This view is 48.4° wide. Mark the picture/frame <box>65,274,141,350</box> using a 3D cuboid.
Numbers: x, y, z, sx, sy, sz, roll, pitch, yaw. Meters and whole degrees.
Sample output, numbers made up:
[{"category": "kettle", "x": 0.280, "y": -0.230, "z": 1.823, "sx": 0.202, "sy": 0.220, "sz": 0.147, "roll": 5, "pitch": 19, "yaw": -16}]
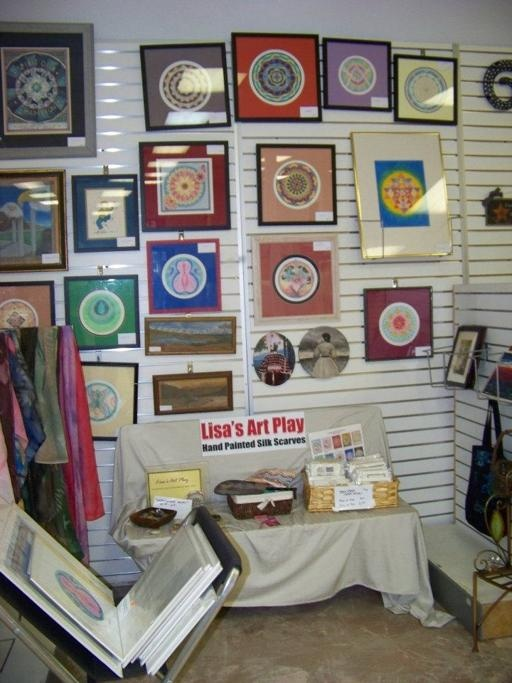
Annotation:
[{"category": "picture/frame", "x": -0.892, "y": -0.184, "z": 3.244, "sx": 0.447, "sy": 0.451, "sz": 0.021, "roll": 0, "pitch": 0, "yaw": -7}]

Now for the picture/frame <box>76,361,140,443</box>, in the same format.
[{"category": "picture/frame", "x": -0.845, "y": 0.331, "z": 3.199, "sx": 0.492, "sy": 0.556, "sz": 0.040, "roll": 0, "pitch": 0, "yaw": -6}]

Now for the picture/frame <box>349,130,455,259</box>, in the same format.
[{"category": "picture/frame", "x": 0.856, "y": -0.884, "z": 3.455, "sx": 0.761, "sy": 0.889, "sz": 0.059, "roll": -4, "pitch": -2, "yaw": -15}]

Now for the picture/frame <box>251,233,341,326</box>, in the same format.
[{"category": "picture/frame", "x": 0.214, "y": -0.385, "z": 3.402, "sx": 0.551, "sy": 0.534, "sz": 0.045, "roll": -2, "pitch": 3, "yaw": -11}]

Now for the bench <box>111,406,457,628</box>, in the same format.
[{"category": "bench", "x": 0.094, "y": 0.913, "z": 3.136, "sx": 1.691, "sy": 0.865, "sz": 0.851, "roll": -2, "pitch": 6, "yaw": -10}]

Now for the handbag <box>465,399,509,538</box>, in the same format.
[{"category": "handbag", "x": 1.269, "y": 0.692, "z": 3.118, "sx": 0.194, "sy": 0.753, "sz": 0.404, "roll": -1, "pitch": 6, "yaw": 7}]

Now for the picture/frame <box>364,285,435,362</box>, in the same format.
[{"category": "picture/frame", "x": 0.870, "y": -0.126, "z": 3.534, "sx": 0.472, "sy": 0.459, "sz": 0.033, "roll": -3, "pitch": 3, "yaw": -11}]

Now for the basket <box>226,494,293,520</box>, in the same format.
[{"category": "basket", "x": 0.033, "y": 0.846, "z": 2.971, "sx": 0.190, "sy": 0.073, "sz": 0.187, "roll": 1, "pitch": -3, "yaw": -21}]

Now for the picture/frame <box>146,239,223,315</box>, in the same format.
[{"category": "picture/frame", "x": -0.437, "y": -0.385, "z": 3.303, "sx": 0.441, "sy": 0.428, "sz": 0.046, "roll": -1, "pitch": 3, "yaw": -6}]

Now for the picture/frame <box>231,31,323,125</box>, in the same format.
[{"category": "picture/frame", "x": 0.098, "y": -1.535, "z": 3.294, "sx": 0.559, "sy": 0.509, "sz": 0.038, "roll": -2, "pitch": 4, "yaw": -7}]

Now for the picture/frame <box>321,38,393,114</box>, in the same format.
[{"category": "picture/frame", "x": 0.584, "y": -1.589, "z": 3.387, "sx": 0.491, "sy": 0.446, "sz": 0.019, "roll": 1, "pitch": 4, "yaw": -13}]

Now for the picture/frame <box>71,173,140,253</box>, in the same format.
[{"category": "picture/frame", "x": -0.870, "y": -0.740, "z": 3.227, "sx": 0.454, "sy": 0.512, "sz": 0.036, "roll": -2, "pitch": 3, "yaw": -10}]

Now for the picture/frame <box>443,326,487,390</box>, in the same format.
[{"category": "picture/frame", "x": 1.246, "y": 0.096, "z": 3.367, "sx": 0.049, "sy": 0.439, "sz": 0.322, "roll": 11, "pitch": 10, "yaw": -14}]

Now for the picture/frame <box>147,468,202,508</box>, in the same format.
[{"category": "picture/frame", "x": -0.456, "y": 0.793, "z": 3.087, "sx": 0.397, "sy": 0.261, "sz": 0.041, "roll": -1, "pitch": -13, "yaw": -12}]
